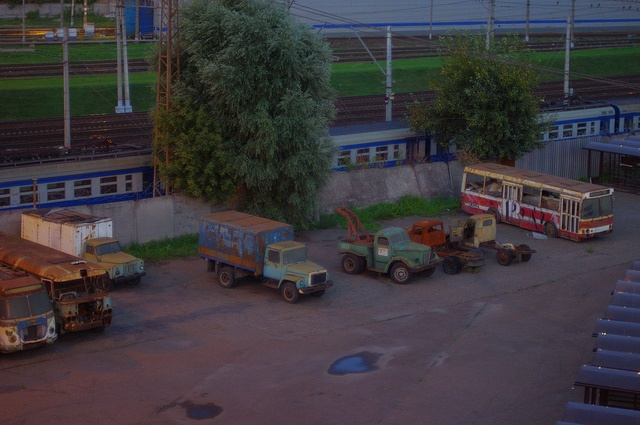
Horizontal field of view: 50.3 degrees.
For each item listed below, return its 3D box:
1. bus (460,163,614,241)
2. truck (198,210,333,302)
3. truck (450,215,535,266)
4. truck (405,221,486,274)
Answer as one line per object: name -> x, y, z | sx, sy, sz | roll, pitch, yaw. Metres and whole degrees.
bus -> 15.077, -1.075, 44.641 | 4.411, 4.203, 12.370 | -16, 24, -39
truck -> -2.982, 2.181, 36.661 | 7.879, 3.974, 3.306 | 14, 19, 33
truck -> 9.593, 1.894, 39.159 | 2.829, 1.835, 4.314 | -10, 22, -43
truck -> 7.009, 2.045, 38.535 | 2.403, 1.989, 4.349 | -11, 25, -38
